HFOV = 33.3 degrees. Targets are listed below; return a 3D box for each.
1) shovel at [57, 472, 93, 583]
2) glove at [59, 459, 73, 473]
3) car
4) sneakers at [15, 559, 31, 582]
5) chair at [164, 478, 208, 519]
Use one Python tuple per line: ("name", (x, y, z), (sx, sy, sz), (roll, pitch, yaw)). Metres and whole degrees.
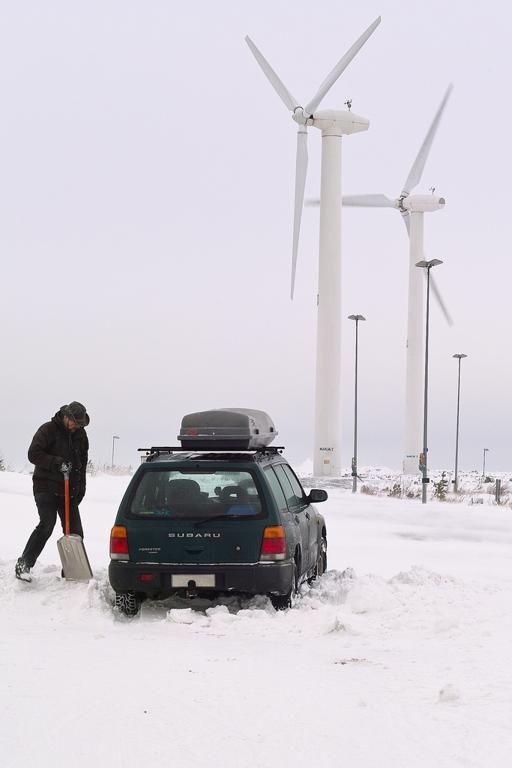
("shovel", (-1.933, 1.485, 9.047), (0.351, 1.141, 0.805), (4, -5, -24))
("glove", (-2.023, 0.875, 9.060), (0.117, 0.166, 0.062), (0, 1, -6))
("car", (-0.278, 1.253, 8.282), (1.485, 1.182, 2.428), (0, 2, 7))
("sneakers", (-2.414, 1.944, 8.877), (0.168, 0.207, 0.207), (3, -5, -15))
("chair", (-0.624, 1.004, 7.508), (0.260, 0.365, 0.343), (2, 3, 9))
